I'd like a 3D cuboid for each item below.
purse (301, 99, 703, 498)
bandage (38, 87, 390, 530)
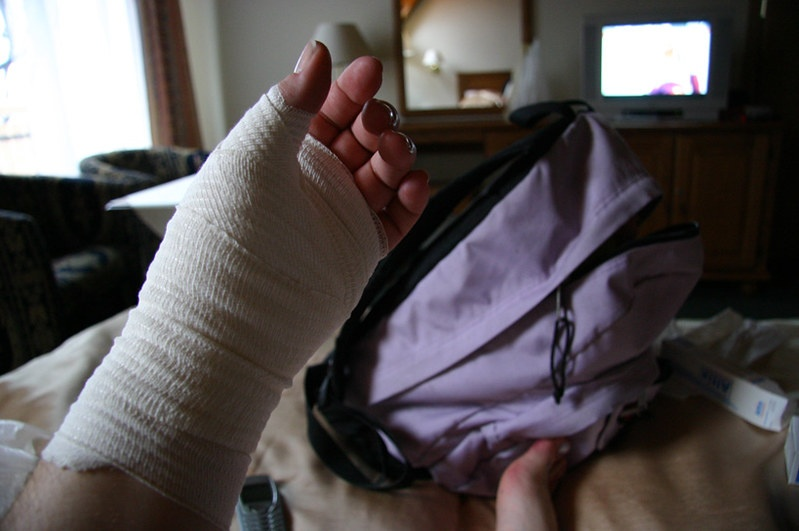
[{"bbox_3d":[0.245,0.144,1.536,0.664,0.682,0.622,-41,37,9],"label":"purse"},{"bbox_3d":[-0.265,0.100,1.228,0.381,0.690,0.258,34,-4,7],"label":"bandage"}]
